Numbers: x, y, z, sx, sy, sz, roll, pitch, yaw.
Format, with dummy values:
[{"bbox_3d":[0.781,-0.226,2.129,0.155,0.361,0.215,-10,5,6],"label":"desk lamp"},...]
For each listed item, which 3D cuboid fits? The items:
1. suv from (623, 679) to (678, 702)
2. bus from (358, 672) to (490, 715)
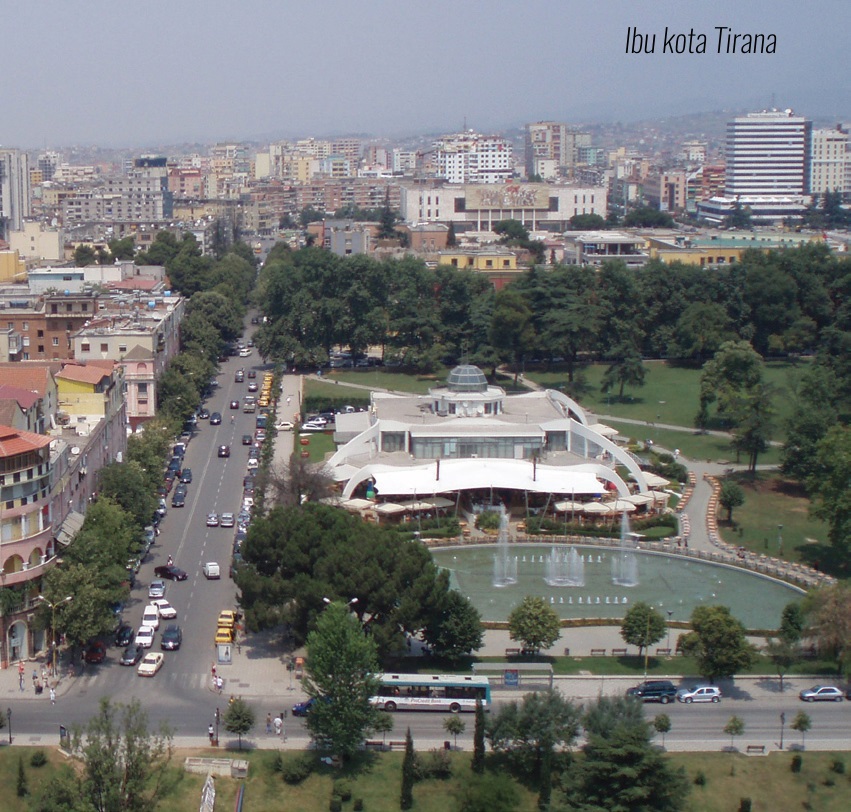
[{"bbox_3d":[13.136,16.354,145.603,2.236,0.819,1.390,3,5,-2],"label":"suv"},{"bbox_3d":[0.232,16.669,144.842,8.411,2.463,2.515,2,2,-1],"label":"bus"}]
